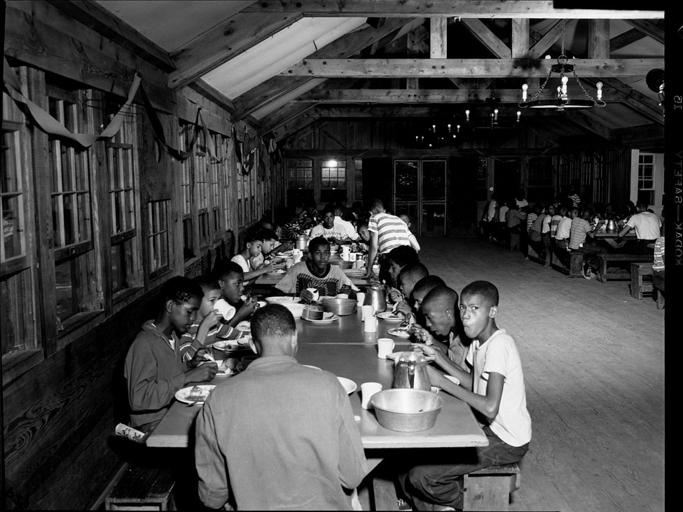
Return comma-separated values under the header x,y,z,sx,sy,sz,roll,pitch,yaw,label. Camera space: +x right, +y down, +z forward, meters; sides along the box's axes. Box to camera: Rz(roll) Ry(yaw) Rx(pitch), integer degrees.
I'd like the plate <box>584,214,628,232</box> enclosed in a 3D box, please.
x,y,z,sx,sy,sz,roll,pitch,yaw,label
6.268,-0.729,12.426,0.688,0.197,0.762,3,10,44,plate

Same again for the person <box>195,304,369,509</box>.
x,y,z,sx,sy,sz,roll,pitch,yaw,label
-0.268,0.660,2.117,0.657,0.868,0.402,2,6,24,person

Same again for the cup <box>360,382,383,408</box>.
x,y,z,sx,sy,sz,roll,pitch,yaw,label
0.156,0.737,2.746,0.100,0.119,0.111,1,-2,0,cup

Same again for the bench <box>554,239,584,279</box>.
x,y,z,sx,sy,sz,roll,pitch,yaw,label
5.148,0.057,11.670,0.279,0.574,0.803,-1,5,1,bench

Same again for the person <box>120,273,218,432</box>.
x,y,z,sx,sy,sz,roll,pitch,yaw,label
-1.107,0.630,3.327,0.500,1.421,0.640,0,21,-8,person

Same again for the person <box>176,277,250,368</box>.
x,y,z,sx,sy,sz,roll,pitch,yaw,label
-0.960,0.505,3.830,0.430,0.748,0.345,1,22,7,person

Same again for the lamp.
x,y,z,sx,sy,sz,roll,pitch,yaw,label
3.890,-3.225,9.095,1.470,1.326,1.506,-2,9,-22,lamp
